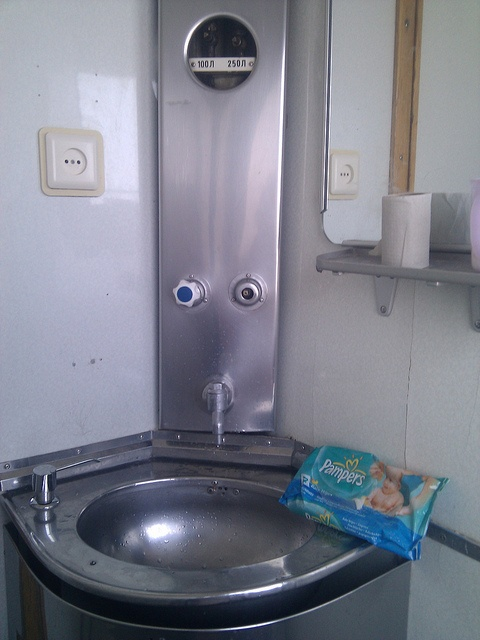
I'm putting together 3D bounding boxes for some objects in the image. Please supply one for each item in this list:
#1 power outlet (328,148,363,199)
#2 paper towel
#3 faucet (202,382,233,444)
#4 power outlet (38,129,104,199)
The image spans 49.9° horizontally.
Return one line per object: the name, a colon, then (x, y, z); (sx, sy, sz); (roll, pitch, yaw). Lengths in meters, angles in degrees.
power outlet: (0.203, -0.281, 0.982); (0.034, 0.132, 0.079); (-6, 11, -42)
paper towel: (0.260, -0.114, 0.772); (0.058, 0.117, 0.068); (-8, -24, 38)
faucet: (-0.057, 0.217, 1.170); (0.068, 0.154, 0.098); (1, 5, 10)
power outlet: (-0.349, -0.324, 1.070); (0.129, 0.169, 0.021); (-2, -23, -21)
